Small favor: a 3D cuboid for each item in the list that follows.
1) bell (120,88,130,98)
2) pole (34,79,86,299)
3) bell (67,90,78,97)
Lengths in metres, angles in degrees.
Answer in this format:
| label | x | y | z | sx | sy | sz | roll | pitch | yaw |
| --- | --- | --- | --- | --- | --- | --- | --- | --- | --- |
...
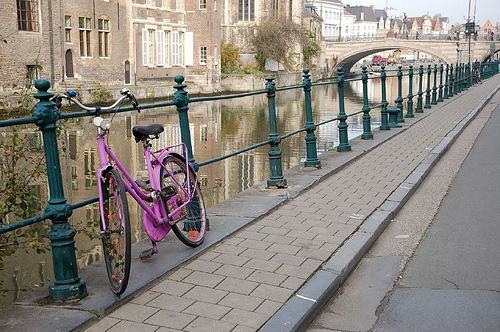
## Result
| label | x | y | z | sx | sy | sz | roll | pitch | yaw |
| --- | --- | --- | --- | --- | --- | --- | --- | --- | --- |
| bell | -1.259 | -0.741 | 5.008 | 0.089 | 0.052 | 0.117 | 22 | 8 | -24 |
| pole | -1.766 | 0.210 | 4.618 | 0.362 | 1.961 | 0.601 | -4 | 15 | -24 |
| bell | -1.714 | -0.696 | 4.787 | 0.063 | 0.038 | 0.078 | 10 | 2 | -44 |
